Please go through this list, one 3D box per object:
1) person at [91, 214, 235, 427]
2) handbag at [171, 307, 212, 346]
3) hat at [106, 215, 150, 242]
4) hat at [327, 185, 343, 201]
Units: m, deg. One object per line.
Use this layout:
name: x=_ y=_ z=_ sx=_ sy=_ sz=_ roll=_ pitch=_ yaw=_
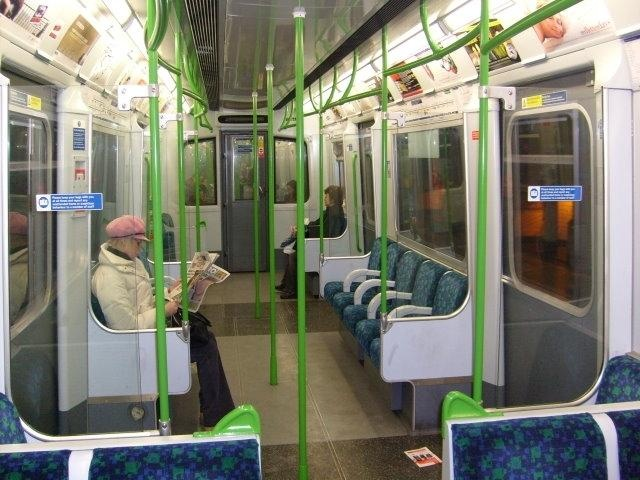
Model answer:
person: x=-0.967 y=0.541 z=3.167 sx=0.770 sy=1.398 sz=0.554 roll=-3 pitch=7 yaw=-2
handbag: x=-1.073 y=0.688 z=3.971 sx=0.132 sy=0.373 sz=0.275 roll=11 pitch=-1 yaw=-5
hat: x=-1.058 y=-0.065 z=2.744 sx=0.152 sy=0.097 sz=0.110 roll=3 pitch=8 yaw=-39
hat: x=0.178 y=-0.611 z=6.534 sx=0.102 sy=0.208 sz=0.375 roll=-4 pitch=9 yaw=-26
